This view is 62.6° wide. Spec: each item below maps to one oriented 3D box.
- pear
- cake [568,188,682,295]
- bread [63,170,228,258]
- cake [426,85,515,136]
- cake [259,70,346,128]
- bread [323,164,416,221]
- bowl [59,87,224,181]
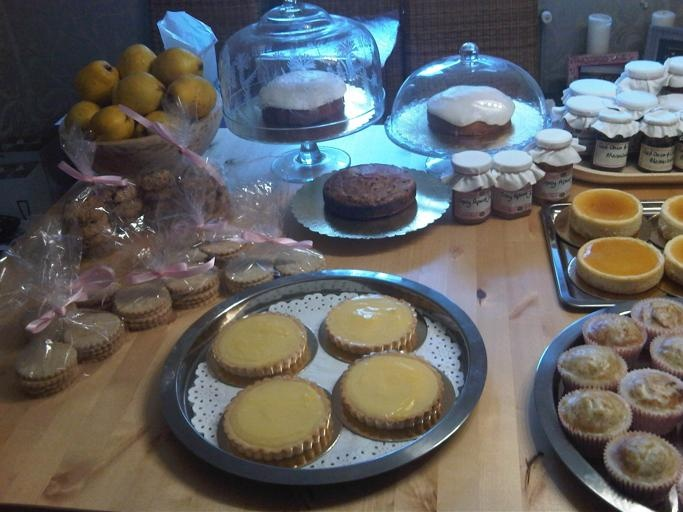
[{"bbox_3d":[-0.477,-0.334,1.371,0.268,0.115,0.278,-6,44,10],"label":"pear"},{"bbox_3d":[0.565,-0.066,1.179,0.154,0.046,0.257,-4,36,3],"label":"cake"},{"bbox_3d":[-0.441,-0.128,1.290,0.271,0.122,0.223,-16,23,-14],"label":"bread"},{"bbox_3d":[0.372,-0.381,1.551,0.211,0.076,0.193,-19,27,-33],"label":"cake"},{"bbox_3d":[-0.092,-0.430,1.573,0.202,0.105,0.213,-12,21,2],"label":"cake"},{"bbox_3d":[0.086,-0.180,1.388,0.198,0.058,0.203,19,30,6],"label":"bread"},{"bbox_3d":[-0.474,-0.272,1.326,0.240,0.123,0.236,-2,34,2],"label":"bowl"}]
